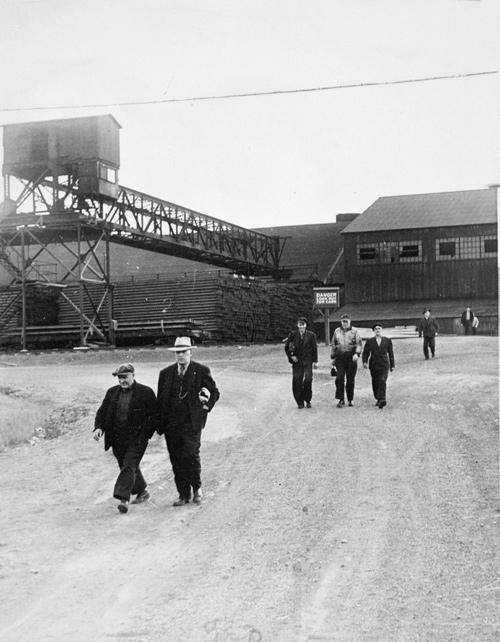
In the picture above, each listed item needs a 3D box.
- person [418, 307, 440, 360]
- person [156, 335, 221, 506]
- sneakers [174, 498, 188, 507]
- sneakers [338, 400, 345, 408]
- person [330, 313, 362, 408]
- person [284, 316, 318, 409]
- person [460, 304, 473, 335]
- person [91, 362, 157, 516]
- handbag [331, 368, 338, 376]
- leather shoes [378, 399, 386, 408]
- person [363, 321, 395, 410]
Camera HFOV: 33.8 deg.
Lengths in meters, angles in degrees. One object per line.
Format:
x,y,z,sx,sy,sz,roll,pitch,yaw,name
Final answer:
4.896,0.344,22.555,0.507,1.437,1.527,-1,4,12,person
-0.735,1.185,9.604,0.726,1.994,0.469,-1,3,12,person
-0.821,2.151,9.796,0.065,0.119,0.231,-3,-18,11,sneakers
1.701,1.550,15.432,0.089,0.199,0.143,-1,1,-42,sneakers
1.826,0.768,15.557,0.572,1.798,1.502,-1,3,6,person
0.969,0.812,15.556,0.581,1.741,1.194,-2,3,2,person
5.836,0.006,22.099,0.321,0.797,1.239,-1,4,15,person
-1.456,1.387,9.680,0.711,1.741,0.681,-2,3,-15,person
1.553,0.939,15.111,0.094,0.255,0.119,0,1,13,handbag
2.426,1.509,15.049,0.110,0.167,0.348,-1,4,10,leather shoes
2.351,0.823,15.132,0.551,1.542,0.842,-1,3,9,person
